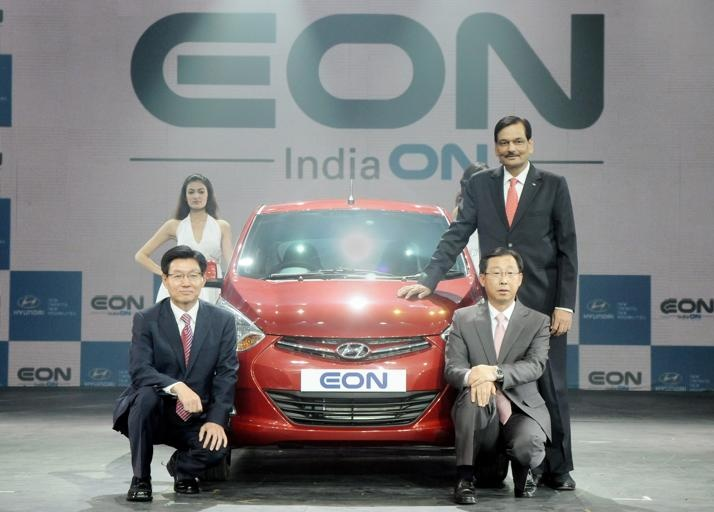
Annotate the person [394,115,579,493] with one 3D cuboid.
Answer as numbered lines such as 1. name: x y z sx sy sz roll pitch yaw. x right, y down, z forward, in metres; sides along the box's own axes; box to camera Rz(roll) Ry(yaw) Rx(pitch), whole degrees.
1. person: 0.756 0.238 4.145 0.922 2.047 0.487 -2 14 13

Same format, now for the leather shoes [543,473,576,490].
1. leather shoes: 1.089 1.207 3.954 0.072 0.084 0.189 3 -11 -21

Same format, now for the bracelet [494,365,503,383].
1. bracelet: 0.720 0.603 3.689 0.048 0.078 0.069 -2 -8 -2

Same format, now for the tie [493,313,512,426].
1. tie: 0.757 0.581 3.774 0.077 0.584 0.060 2 -14 -2

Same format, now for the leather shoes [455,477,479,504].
1. leather shoes: 0.540 1.174 3.639 0.112 0.121 0.093 -1 14 5

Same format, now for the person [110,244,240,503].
1. person: -0.968 0.587 3.799 0.635 1.220 0.698 0 -2 34

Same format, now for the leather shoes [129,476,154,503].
1. leather shoes: -1.095 1.164 3.658 0.121 0.135 0.070 -3 13 -5

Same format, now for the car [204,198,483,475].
1. car: -0.027 0.434 4.241 1.450 1.296 1.429 0 14 7

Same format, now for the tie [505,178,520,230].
1. tie: 0.838 -0.309 3.955 0.069 0.018 0.324 2 -29 11
